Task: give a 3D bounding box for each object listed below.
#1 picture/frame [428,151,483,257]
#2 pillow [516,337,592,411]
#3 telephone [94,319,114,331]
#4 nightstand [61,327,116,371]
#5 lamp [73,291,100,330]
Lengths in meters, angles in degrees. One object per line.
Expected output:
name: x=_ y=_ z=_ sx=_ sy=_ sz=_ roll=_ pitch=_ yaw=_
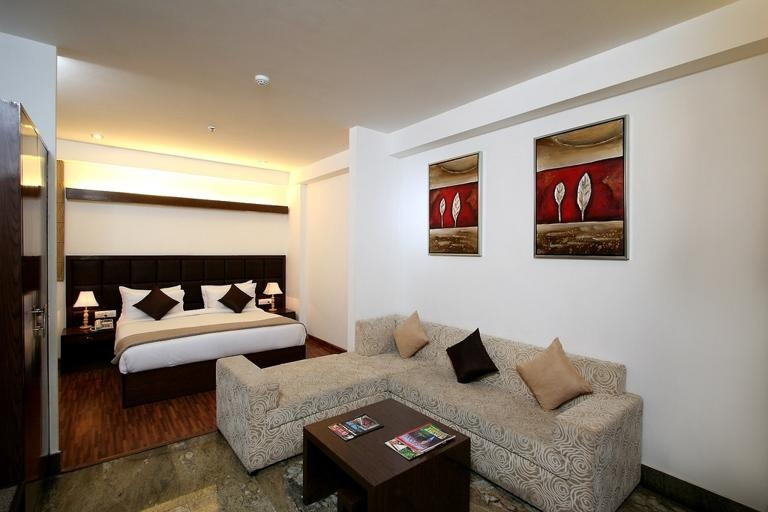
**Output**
picture/frame: x=0.791 y=-0.582 z=5.500 sx=0.059 sy=1.126 sz=0.777 roll=-3 pitch=4 yaw=-42
pillow: x=1.523 y=1.044 z=4.206 sx=0.528 sy=0.564 sz=0.173 roll=-36 pitch=-38 yaw=4
telephone: x=-3.713 y=0.910 z=6.291 sx=0.168 sy=0.047 sz=0.170 roll=11 pitch=12 yaw=38
nightstand: x=-3.886 y=1.168 z=6.278 sx=0.662 sy=0.643 sz=0.505 roll=1 pitch=1 yaw=-45
lamp: x=-3.993 y=0.700 z=6.362 sx=0.285 sy=0.472 sz=0.411 roll=-2 pitch=3 yaw=-34
